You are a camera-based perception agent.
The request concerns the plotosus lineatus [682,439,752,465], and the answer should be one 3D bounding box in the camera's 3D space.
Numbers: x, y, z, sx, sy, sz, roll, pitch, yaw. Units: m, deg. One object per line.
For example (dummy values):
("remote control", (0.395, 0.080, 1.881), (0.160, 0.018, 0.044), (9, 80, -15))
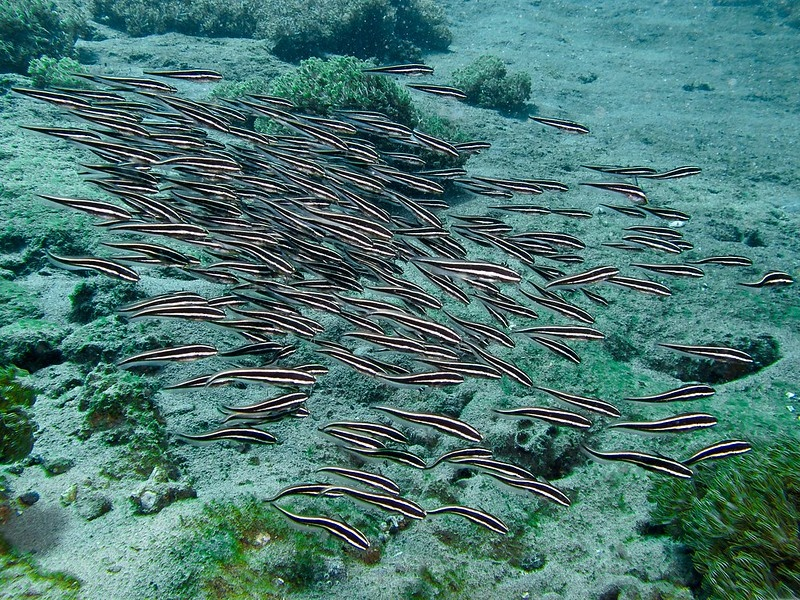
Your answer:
("plotosus lineatus", (4.313, 2.114, 9.775), (1.039, 0.468, 0.168), (-5, 37, -12))
